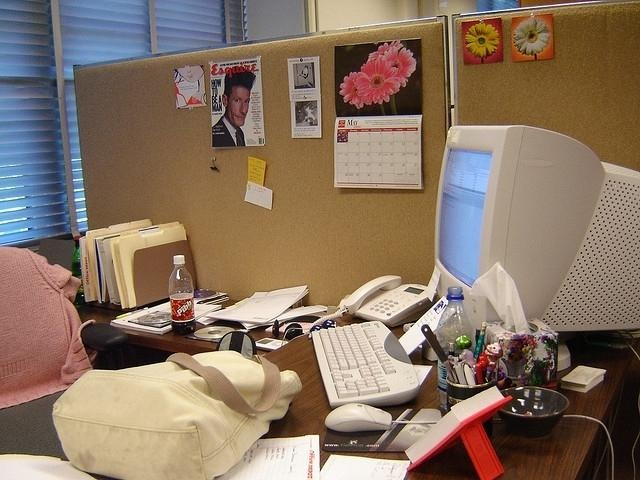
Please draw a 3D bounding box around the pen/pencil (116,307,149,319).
[{"bbox_3d":[-0.719,0.284,1.790,0.016,0.011,0.086,27,17,11],"label":"pen/pencil"}]

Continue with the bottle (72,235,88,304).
[{"bbox_3d":[-1.050,0.114,2.041,0.050,0.213,0.048,-12,8,2],"label":"bottle"}]

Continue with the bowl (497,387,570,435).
[{"bbox_3d":[0.406,0.332,0.892,0.109,0.062,0.115,-4,12,1],"label":"bowl"}]

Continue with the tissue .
[{"bbox_3d":[0.436,0.201,1.033,0.129,0.224,0.144,-4,8,-5],"label":"tissue "}]

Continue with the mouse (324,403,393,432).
[{"bbox_3d":[0.076,0.356,0.916,0.108,0.039,0.059,-4,19,4],"label":"mouse"}]

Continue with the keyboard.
[{"bbox_3d":[0.110,0.300,1.156,0.204,0.055,0.437,-2,9,-6],"label":"keyboard"}]

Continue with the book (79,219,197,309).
[{"bbox_3d":[-0.770,0.083,1.973,0.346,0.324,0.355,-4,7,36],"label":"book"}]

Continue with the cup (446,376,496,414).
[{"bbox_3d":[0.295,0.291,0.892,0.059,0.069,0.069,1,-1,5],"label":"cup"}]
